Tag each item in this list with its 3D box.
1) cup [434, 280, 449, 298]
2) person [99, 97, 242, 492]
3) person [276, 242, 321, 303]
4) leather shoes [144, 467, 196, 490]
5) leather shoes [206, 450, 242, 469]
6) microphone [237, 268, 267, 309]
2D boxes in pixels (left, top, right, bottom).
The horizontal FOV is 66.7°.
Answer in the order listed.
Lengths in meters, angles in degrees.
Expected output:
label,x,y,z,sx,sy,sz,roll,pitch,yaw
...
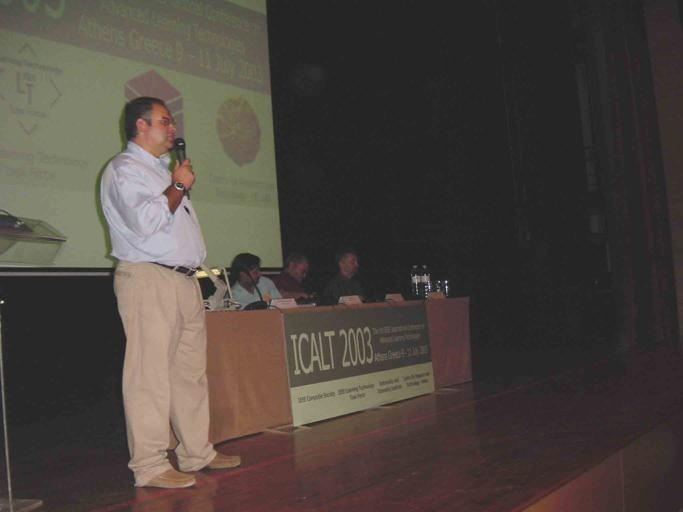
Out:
label,x,y,z,sx,sy,sz,roll,pitch,yaw
cup,1.094,0.361,5.658,0.113,0.128,0.221,0,11,7
person,-0.858,0.151,2.517,0.522,1.868,0.291,-2,-2,-27
person,-0.394,0.169,5.044,0.391,0.763,0.471,-7,-5,32
leather shoes,-0.787,1.026,2.391,0.171,0.076,0.105,3,-7,-8
leather shoes,-0.589,1.046,2.669,0.206,0.096,0.073,-6,1,-4
microphone,-0.680,0.259,4.193,0.090,0.336,0.310,-9,-7,10
